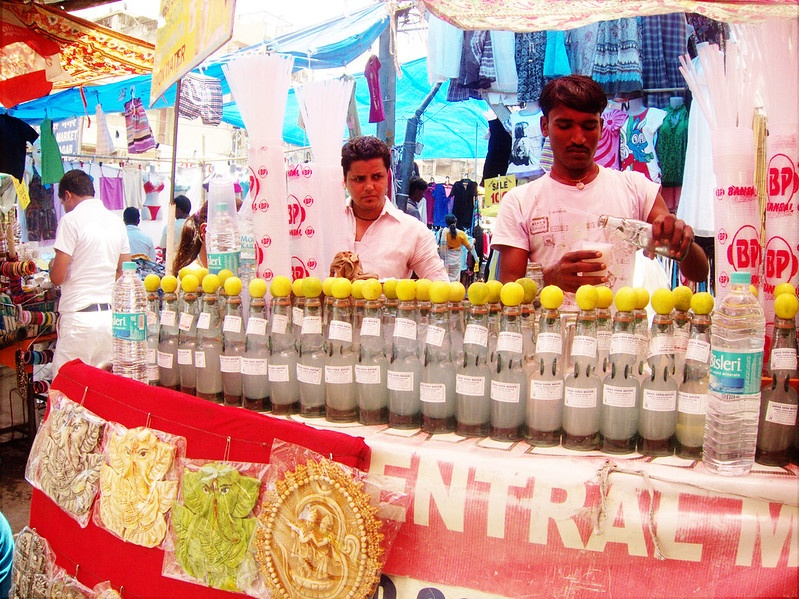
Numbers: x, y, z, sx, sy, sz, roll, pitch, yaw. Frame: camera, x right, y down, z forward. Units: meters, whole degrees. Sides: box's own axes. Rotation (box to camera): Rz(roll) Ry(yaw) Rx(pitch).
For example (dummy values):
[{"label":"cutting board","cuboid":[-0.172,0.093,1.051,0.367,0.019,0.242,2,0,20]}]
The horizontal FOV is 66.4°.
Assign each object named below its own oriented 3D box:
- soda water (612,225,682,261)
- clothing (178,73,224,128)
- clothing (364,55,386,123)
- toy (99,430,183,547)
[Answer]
[{"label":"soda water","cuboid":[0.947,-0.231,2.362,0.269,0.153,0.151,2,4,23]},{"label":"clothing","cuboid":[-2.345,-2.196,6.942,0.329,0.562,0.600,0,4,44]},{"label":"clothing","cuboid":[-0.216,-1.832,5.314,0.145,0.580,0.155,-1,4,-18]},{"label":"toy","cuboid":[-0.907,0.663,2.294,0.372,0.403,0.112,5,-1,27]}]
